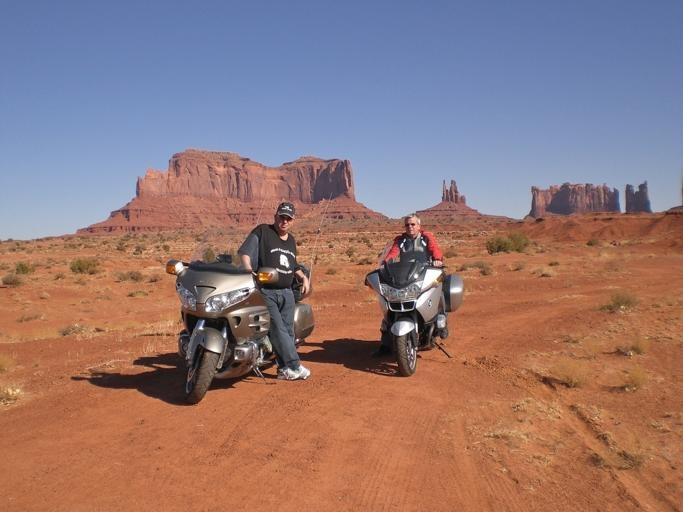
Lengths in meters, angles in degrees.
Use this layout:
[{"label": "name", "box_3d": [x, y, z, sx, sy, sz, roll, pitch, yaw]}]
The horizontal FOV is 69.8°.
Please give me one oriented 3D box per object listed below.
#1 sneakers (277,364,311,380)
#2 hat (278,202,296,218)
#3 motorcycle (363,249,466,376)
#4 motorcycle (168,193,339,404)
[{"label": "sneakers", "box_3d": [-0.712, 1.732, 7.263, 0.538, 0.237, 0.190, -4, 15, -14]}, {"label": "hat", "box_3d": [-0.777, -0.665, 7.061, 0.288, 0.220, 0.458, 7, 7, -4]}, {"label": "motorcycle", "box_3d": [1.194, 0.839, 8.083, 1.061, 1.882, 1.946, 10, 15, 40]}, {"label": "motorcycle", "box_3d": [-1.284, 0.640, 6.748, 1.229, 2.697, 1.901, 7, 13, 30]}]
